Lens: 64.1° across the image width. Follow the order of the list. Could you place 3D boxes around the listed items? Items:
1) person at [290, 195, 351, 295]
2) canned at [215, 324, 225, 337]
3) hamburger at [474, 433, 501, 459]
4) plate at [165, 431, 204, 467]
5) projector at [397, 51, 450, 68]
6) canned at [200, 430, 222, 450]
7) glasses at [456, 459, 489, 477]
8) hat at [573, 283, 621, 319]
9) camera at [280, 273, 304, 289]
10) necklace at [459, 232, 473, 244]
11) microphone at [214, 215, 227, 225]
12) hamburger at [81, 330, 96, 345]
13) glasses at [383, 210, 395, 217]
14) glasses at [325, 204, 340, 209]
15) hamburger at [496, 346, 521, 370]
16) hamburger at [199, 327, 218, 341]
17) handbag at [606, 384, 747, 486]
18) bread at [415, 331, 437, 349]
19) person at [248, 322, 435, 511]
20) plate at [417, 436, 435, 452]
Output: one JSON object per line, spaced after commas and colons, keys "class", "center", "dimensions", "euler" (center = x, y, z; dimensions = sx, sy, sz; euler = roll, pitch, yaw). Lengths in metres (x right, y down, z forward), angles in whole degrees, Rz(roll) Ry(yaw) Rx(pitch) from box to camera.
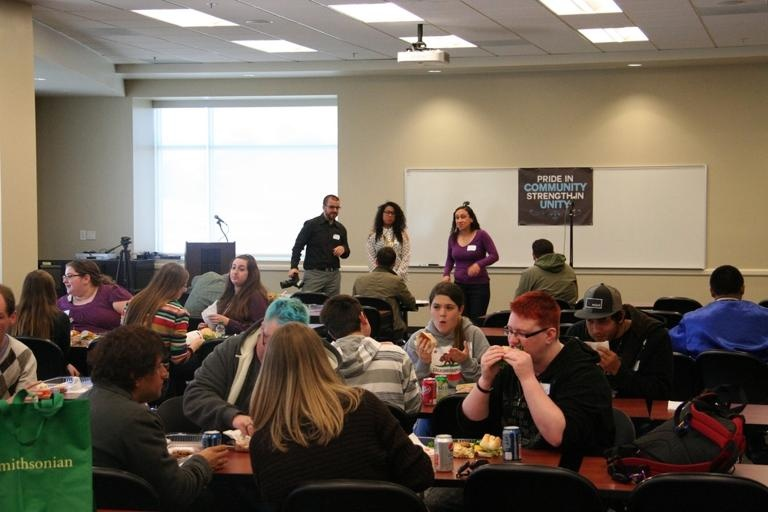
{"class": "person", "center": [-0.867, -0.150, 8.342], "dimensions": [0.754, 1.373, 1.272], "euler": [0, 4, -5]}
{"class": "canned", "center": [-1.414, 0.640, 5.304], "dimensions": [0.070, 0.098, 0.035], "euler": [2, -6, -15]}
{"class": "hamburger", "center": [0.520, 0.935, 3.033], "dimensions": [0.086, 0.101, 0.041], "euler": [-6, -41, 14]}
{"class": "plate", "center": [-1.010, 0.952, 3.089], "dimensions": [0.138, 0.070, 0.208], "euler": [1, 1, -2]}
{"class": "projector", "center": [0.460, -2.318, 7.124], "dimensions": [0.570, 0.177, 0.208], "euler": [1, 4, 0]}
{"class": "canned", "center": [-0.841, 0.893, 2.988], "dimensions": [0.082, 0.095, 0.083], "euler": [-2, -3, 40]}
{"class": "glasses", "center": [0.399, 0.949, 2.746], "dimensions": [0.126, 0.064, 0.128], "euler": [-12, -3, -6]}
{"class": "hat", "center": [1.408, 0.258, 3.937], "dimensions": [0.194, 0.122, 0.279], "euler": [1, 17, 40]}
{"class": "camera", "center": [-1.247, 0.342, 8.380], "dimensions": [0.297, 0.104, 0.284], "euler": [-2, 6, 2]}
{"class": "necklace", "center": [0.999, -0.214, 7.588], "dimensions": [0.134, 0.140, 0.042], "euler": [-8, -9, 26]}
{"class": "microphone", "center": [-2.692, -0.592, 10.155], "dimensions": [0.176, 0.158, 1.225], "euler": [0, 4, -15]}
{"class": "hamburger", "center": [-2.528, 0.684, 5.241], "dimensions": [0.115, 0.057, 0.159], "euler": [2, 3, 1]}
{"class": "glasses", "center": [0.071, -0.571, 7.933], "dimensions": [0.137, 0.087, 0.062], "euler": [1, 4, -1]}
{"class": "glasses", "center": [-0.664, -0.667, 8.207], "dimensions": [0.111, 0.084, 0.244], "euler": [3, 5, 29]}
{"class": "hamburger", "center": [0.616, 0.512, 3.092], "dimensions": [0.108, 0.124, 0.036], "euler": [-2, 24, -4]}
{"class": "hamburger", "center": [-1.477, 0.660, 5.184], "dimensions": [0.104, 0.088, 0.117], "euler": [-30, -27, 25]}
{"class": "handbag", "center": [1.331, 0.795, 2.794], "dimensions": [0.491, 0.211, 0.361], "euler": [-25, 4, -4]}
{"class": "bread", "center": [0.278, 0.547, 4.100], "dimensions": [0.107, 0.035, 0.109], "euler": [33, -3, -29]}
{"class": "person", "center": [-0.242, 0.738, 2.794], "dimensions": [0.778, 0.683, 1.225], "euler": [-6, -32, 1]}
{"class": "plate", "center": [0.227, 0.969, 3.187], "dimensions": [0.055, 0.075, 0.242], "euler": [4, -1, 11]}
